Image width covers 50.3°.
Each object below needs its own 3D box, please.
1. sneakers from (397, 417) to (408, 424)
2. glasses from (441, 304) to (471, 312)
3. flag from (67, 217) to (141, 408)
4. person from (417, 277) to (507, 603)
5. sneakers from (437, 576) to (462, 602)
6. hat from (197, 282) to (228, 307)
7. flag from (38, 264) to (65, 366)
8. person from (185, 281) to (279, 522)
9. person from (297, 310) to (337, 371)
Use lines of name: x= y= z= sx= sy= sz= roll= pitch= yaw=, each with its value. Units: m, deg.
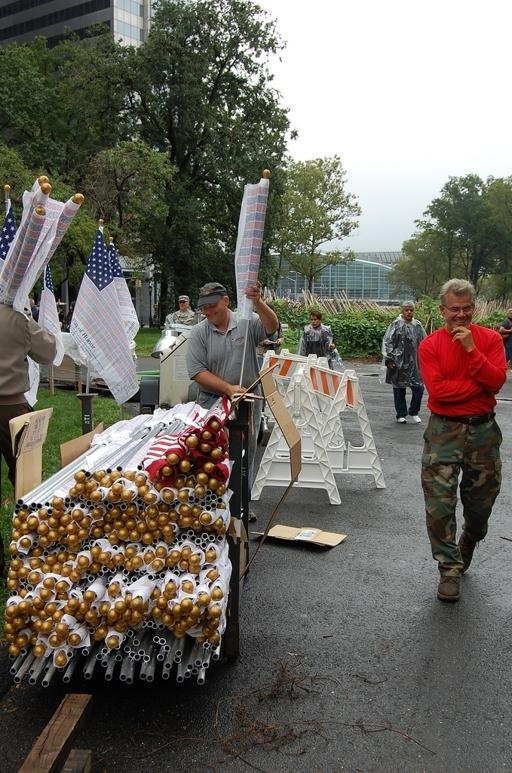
sneakers: x=3.049 y=0.678 z=11.397 sx=0.087 sy=0.106 sz=0.243 roll=1 pitch=8 yaw=7
glasses: x=1.303 y=-0.501 z=3.502 sx=0.144 sy=0.044 sz=0.065 roll=1 pitch=-1 yaw=10
flag: x=-1.416 y=-0.650 z=5.149 sx=0.607 sy=1.556 sz=0.381 roll=1 pitch=-1 yaw=-7
person: x=1.434 y=0.324 z=3.732 sx=0.551 sy=2.164 sz=0.566 roll=1 pitch=-1 yaw=-19
sneakers: x=1.281 y=1.327 z=3.614 sx=0.148 sy=0.153 sz=0.146 roll=1 pitch=-1 yaw=10
hat: x=-0.321 y=-0.692 z=3.999 sx=0.197 sy=0.196 sz=0.202 roll=1 pitch=-1 yaw=-7
flag: x=-1.962 y=-0.771 z=5.148 sx=0.154 sy=0.767 sz=0.117 roll=10 pitch=27 yaw=-4
person: x=-0.176 y=0.002 z=4.154 sx=0.713 sy=1.692 sz=1.517 roll=1 pitch=-1 yaw=-7
person: x=1.426 y=-0.865 z=12.658 sx=1.003 sy=1.799 sz=0.693 roll=6 pitch=28 yaw=22
